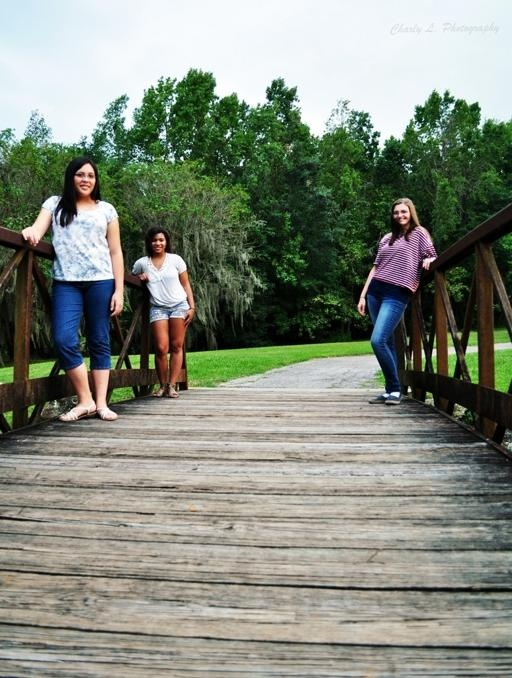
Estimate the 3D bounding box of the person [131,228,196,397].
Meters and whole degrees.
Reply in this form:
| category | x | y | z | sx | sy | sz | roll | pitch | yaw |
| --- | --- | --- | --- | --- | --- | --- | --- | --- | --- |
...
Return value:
| category | x | y | z | sx | sy | sz | roll | pitch | yaw |
| --- | --- | --- | --- | --- | --- | --- | --- | --- | --- |
| person | -0.690 | -0.184 | 4.717 | 0.433 | 1.269 | 0.394 | -2 | 4 | -16 |

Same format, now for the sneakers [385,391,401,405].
| category | x | y | z | sx | sy | sz | roll | pitch | yaw |
| --- | --- | --- | --- | --- | --- | --- | --- | --- | --- |
| sneakers | 0.906 | 0.394 | 4.111 | 0.072 | 0.058 | 0.193 | -3 | -6 | 11 |

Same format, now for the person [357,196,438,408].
| category | x | y | z | sx | sy | sz | roll | pitch | yaw |
| --- | --- | --- | --- | --- | --- | --- | --- | --- | --- |
| person | 0.958 | -0.260 | 4.216 | 0.486 | 1.443 | 0.633 | 0 | 4 | 4 |

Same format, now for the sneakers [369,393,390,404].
| category | x | y | z | sx | sy | sz | roll | pitch | yaw |
| --- | --- | --- | --- | --- | --- | --- | --- | --- | --- |
| sneakers | 0.837 | 0.401 | 4.180 | 0.156 | 0.055 | 0.055 | -3 | -3 | -37 |

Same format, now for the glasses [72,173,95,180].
| category | x | y | z | sx | sy | sz | roll | pitch | yaw |
| --- | --- | --- | --- | --- | --- | --- | --- | --- | --- |
| glasses | -0.902 | -0.845 | 3.228 | 0.053 | 0.016 | 0.065 | 0 | 3 | -5 |

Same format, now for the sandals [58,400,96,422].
| category | x | y | z | sx | sy | sz | roll | pitch | yaw |
| --- | --- | --- | --- | --- | --- | --- | --- | --- | --- |
| sandals | -0.961 | 0.400 | 3.340 | 0.076 | 0.065 | 0.189 | -14 | -6 | 25 |

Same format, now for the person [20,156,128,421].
| category | x | y | z | sx | sy | sz | roll | pitch | yaw |
| --- | --- | --- | --- | --- | --- | --- | --- | --- | --- |
| person | -0.939 | -0.255 | 3.284 | 0.344 | 1.410 | 0.620 | 1 | 5 | 23 |
